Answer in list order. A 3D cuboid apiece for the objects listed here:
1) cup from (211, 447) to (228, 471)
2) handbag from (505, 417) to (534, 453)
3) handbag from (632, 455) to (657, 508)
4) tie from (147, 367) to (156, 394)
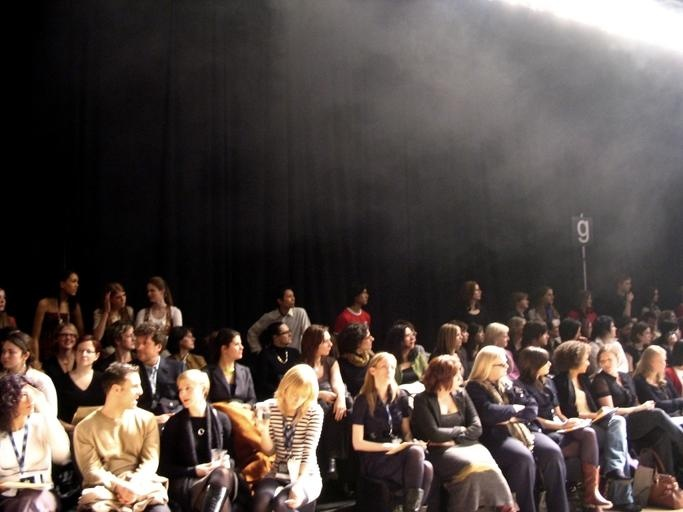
[{"bbox_3d":[-0.880,1.467,4.172,0.118,0.130,0.109,-1,1,0],"label":"cup"},{"bbox_3d":[1.534,1.532,5.002,0.191,0.252,0.107,-22,-18,-51],"label":"handbag"},{"bbox_3d":[2.851,2.145,5.462,0.318,0.343,0.132,17,-24,-13],"label":"handbag"},{"bbox_3d":[-1.634,1.068,4.998,0.033,0.166,0.153,-2,4,-12],"label":"tie"}]
